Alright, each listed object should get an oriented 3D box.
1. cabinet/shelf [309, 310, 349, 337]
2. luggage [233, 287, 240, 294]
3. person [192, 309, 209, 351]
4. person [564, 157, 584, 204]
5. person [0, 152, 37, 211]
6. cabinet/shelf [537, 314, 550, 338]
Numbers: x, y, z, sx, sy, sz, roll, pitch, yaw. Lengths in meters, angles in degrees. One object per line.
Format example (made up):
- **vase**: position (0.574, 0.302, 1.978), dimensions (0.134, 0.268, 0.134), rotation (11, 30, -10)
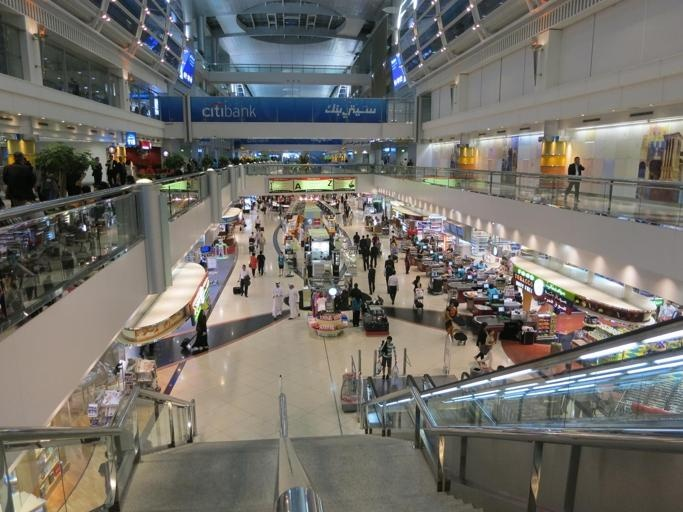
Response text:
- **cabinet/shelf**: position (-0.430, 2.111, 15.676), dimensions (1.186, 0.824, 0.851), rotation (-2, 13, -10)
- **luggage**: position (-4.097, 1.365, 19.371), dimensions (0.216, 0.236, 0.226), rotation (0, 3, -3)
- **person**: position (-4.077, 2.023, 14.248), dimensions (0.453, 1.310, 1.567), rotation (-3, 13, -17)
- **person**: position (5.440, -1.751, 11.708), dimensions (0.341, 1.106, 0.275), rotation (5, -18, 23)
- **person**: position (-4.967, -1.160, 7.698), dimensions (0.421, 0.780, 0.879), rotation (-8, 15, -33)
- **cabinet/shelf**: position (6.123, 2.121, 15.174), dimensions (0.464, 0.620, 0.327), rotation (5, 13, 20)
